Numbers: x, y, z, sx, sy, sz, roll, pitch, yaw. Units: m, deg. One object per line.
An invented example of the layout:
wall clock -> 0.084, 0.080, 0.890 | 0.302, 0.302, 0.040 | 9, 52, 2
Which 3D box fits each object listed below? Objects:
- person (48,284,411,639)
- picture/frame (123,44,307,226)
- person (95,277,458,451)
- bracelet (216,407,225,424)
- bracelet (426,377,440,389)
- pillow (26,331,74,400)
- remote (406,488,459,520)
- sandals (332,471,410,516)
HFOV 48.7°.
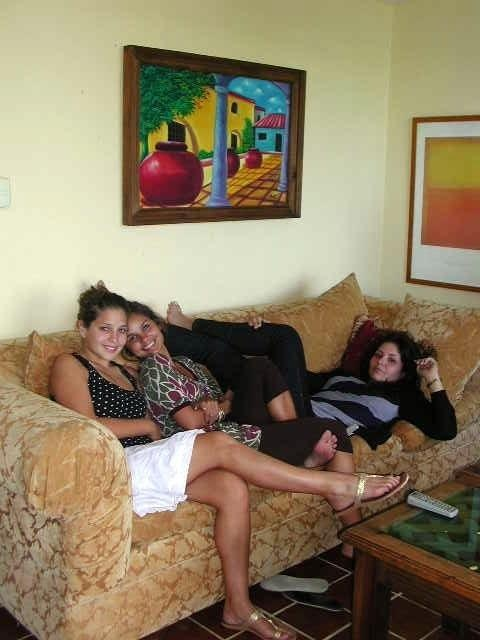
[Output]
person -> -0.289, 0.426, 2.340 | 1.624, 1.512, 0.634 | -3, -5, 2
picture/frame -> -0.085, -0.887, 2.603 | 1.139, 0.736, 0.051 | -16, 29, -41
person -> 0.311, 0.379, 2.433 | 1.424, 0.509, 0.624 | 17, 5, -16
bracelet -> -0.070, 0.345, 1.953 | 0.022, 0.049, 0.044 | 6, 25, -3
bracelet -> 0.825, 0.267, 2.282 | 0.038, 0.049, 0.018 | 11, -31, 41
pillow -> -0.666, 0.146, 1.812 | 0.063, 0.185, 0.197 | -11, -18, 22
remote -> 0.525, 0.500, 1.455 | 0.052, 0.020, 0.091 | -6, 15, -43
sandals -> 0.414, 0.547, 1.698 | 0.296, 0.067, 0.104 | -25, 0, 2
